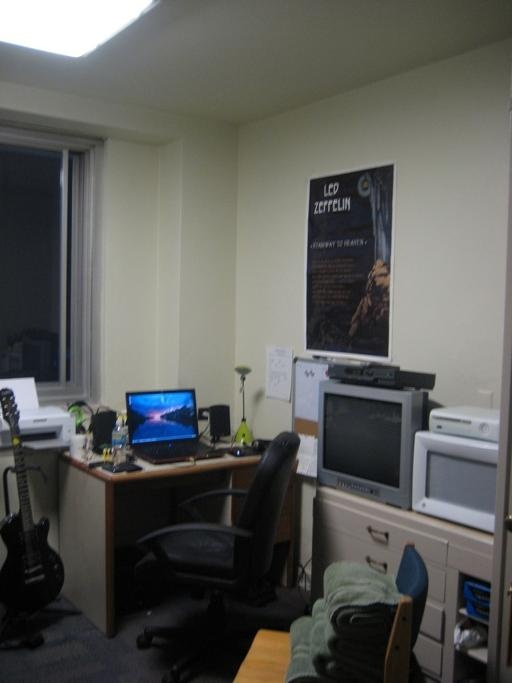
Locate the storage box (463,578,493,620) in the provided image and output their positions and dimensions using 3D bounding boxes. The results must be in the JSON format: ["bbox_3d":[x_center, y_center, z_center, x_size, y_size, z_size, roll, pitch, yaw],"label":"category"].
[{"bbox_3d":[0.737,0.860,1.772,0.073,0.053,0.105,3,-9,35],"label":"storage box"}]

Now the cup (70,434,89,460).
[{"bbox_3d":[-0.897,0.537,2.688,0.061,0.164,0.129,2,-5,-11],"label":"cup"}]

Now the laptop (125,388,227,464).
[{"bbox_3d":[-0.485,0.366,2.847,0.352,0.376,0.327,3,-5,-36],"label":"laptop"}]

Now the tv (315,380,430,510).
[{"bbox_3d":[0.514,0.391,2.317,0.328,0.642,0.481,-1,3,-36],"label":"tv"}]

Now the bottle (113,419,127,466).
[{"bbox_3d":[-0.679,0.487,2.638,0.073,0.196,0.327,0,0,-15],"label":"bottle"}]

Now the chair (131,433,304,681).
[{"bbox_3d":[-0.108,0.826,2.529,0.630,1.460,0.878,2,-8,16],"label":"chair"}]
